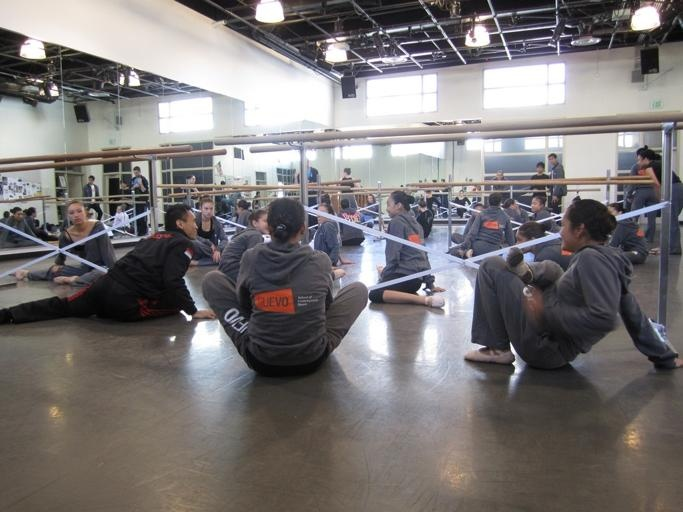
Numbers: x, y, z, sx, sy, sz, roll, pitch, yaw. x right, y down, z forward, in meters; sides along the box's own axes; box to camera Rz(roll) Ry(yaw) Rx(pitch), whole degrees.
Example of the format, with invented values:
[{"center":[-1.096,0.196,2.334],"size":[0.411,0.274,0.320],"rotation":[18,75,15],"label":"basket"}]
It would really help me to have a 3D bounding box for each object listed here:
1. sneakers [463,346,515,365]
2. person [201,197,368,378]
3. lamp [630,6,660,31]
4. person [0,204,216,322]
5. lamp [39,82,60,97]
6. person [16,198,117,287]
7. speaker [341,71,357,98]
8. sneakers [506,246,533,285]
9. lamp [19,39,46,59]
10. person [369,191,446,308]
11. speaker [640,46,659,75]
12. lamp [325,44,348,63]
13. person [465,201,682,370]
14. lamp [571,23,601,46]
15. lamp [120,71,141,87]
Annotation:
[{"center":[0.746,0.509,2.458],"size":[0.254,0.098,0.084],"rotation":[4,3,30],"label":"sneakers"},{"center":[-0.253,0.126,2.346],"size":[0.890,0.757,0.539],"rotation":[1,13,-1],"label":"person"},{"center":[4.884,-3.832,7.747],"size":[0.465,0.283,0.439],"rotation":[1,20,19],"label":"lamp"},{"center":[-1.391,0.092,3.353],"size":[1.495,0.718,0.722],"rotation":[-5,18,-38],"label":"person"},{"center":[-4.474,-2.573,7.387],"size":[0.084,0.219,0.257],"rotation":[4,10,25],"label":"lamp"},{"center":[-2.488,-0.107,4.410],"size":[0.992,0.721,0.619],"rotation":[0,13,1],"label":"person"},{"center":[0.192,-4.828,13.424],"size":[0.507,0.705,0.343],"rotation":[3,11,23],"label":"speaker"},{"center":[0.811,0.043,2.198],"size":[0.096,0.177,0.075],"rotation":[-47,4,-34],"label":"sneakers"},{"center":[-4.475,-3.008,6.957],"size":[0.155,0.273,0.359],"rotation":[2,9,18],"label":"lamp"},{"center":[0.546,-0.072,3.896],"size":[0.592,0.901,0.851],"rotation":[1,9,11],"label":"person"},{"center":[7.349,-4.708,11.464],"size":[0.403,0.626,0.350],"rotation":[4,11,29],"label":"speaker"},{"center":[-0.120,-4.515,10.481],"size":[0.393,0.450,0.861],"rotation":[-1,9,-3],"label":"lamp"},{"center":[0.981,0.176,2.500],"size":[1.178,0.776,0.620],"rotation":[3,2,26],"label":"person"},{"center":[5.249,-4.815,10.335],"size":[0.702,0.584,0.367],"rotation":[3,18,20],"label":"lamp"},{"center":[-3.808,-3.187,8.590],"size":[0.341,0.303,0.208],"rotation":[-14,27,-36],"label":"lamp"}]
